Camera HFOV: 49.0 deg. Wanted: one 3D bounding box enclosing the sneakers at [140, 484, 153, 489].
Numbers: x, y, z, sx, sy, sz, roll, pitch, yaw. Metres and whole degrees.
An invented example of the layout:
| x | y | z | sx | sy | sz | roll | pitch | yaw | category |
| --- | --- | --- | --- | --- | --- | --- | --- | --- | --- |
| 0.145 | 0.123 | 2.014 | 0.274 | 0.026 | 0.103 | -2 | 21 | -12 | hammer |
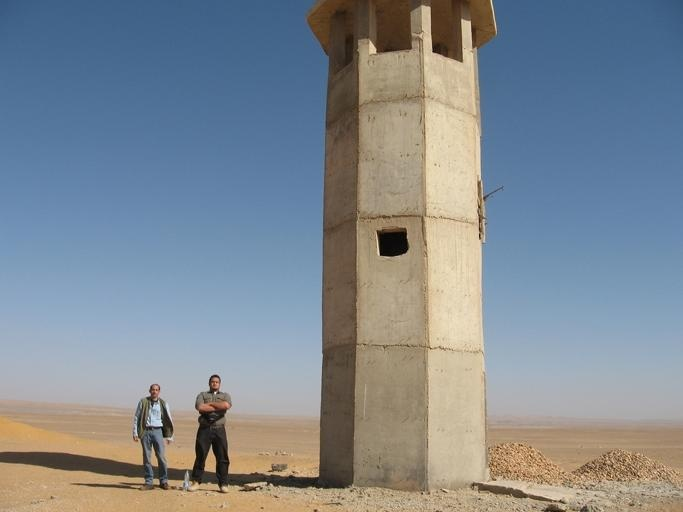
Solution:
| x | y | z | sx | sy | sz | roll | pitch | yaw | category |
| --- | --- | --- | --- | --- | --- | --- | --- | --- | --- |
| -4.300 | 5.094 | 16.525 | 0.284 | 0.113 | 0.284 | 3 | -11 | -13 | sneakers |

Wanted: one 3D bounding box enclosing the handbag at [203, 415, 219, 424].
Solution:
| x | y | z | sx | sy | sz | roll | pitch | yaw | category |
| --- | --- | --- | --- | --- | --- | --- | --- | --- | --- |
| -2.910 | 3.653 | 16.711 | 0.189 | 0.212 | 0.061 | -13 | -5 | -11 | handbag |

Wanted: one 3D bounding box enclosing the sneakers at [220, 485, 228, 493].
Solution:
| x | y | z | sx | sy | sz | roll | pitch | yaw | category |
| --- | --- | --- | --- | --- | --- | --- | --- | --- | --- |
| -2.597 | 5.155 | 16.525 | 0.150 | 0.164 | 0.101 | 1 | -1 | -3 | sneakers |

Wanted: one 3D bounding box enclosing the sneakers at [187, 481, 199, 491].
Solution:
| x | y | z | sx | sy | sz | roll | pitch | yaw | category |
| --- | --- | --- | --- | --- | --- | --- | --- | --- | --- |
| -3.287 | 5.094 | 16.534 | 0.144 | 0.191 | 0.424 | 4 | -17 | -4 | sneakers |
